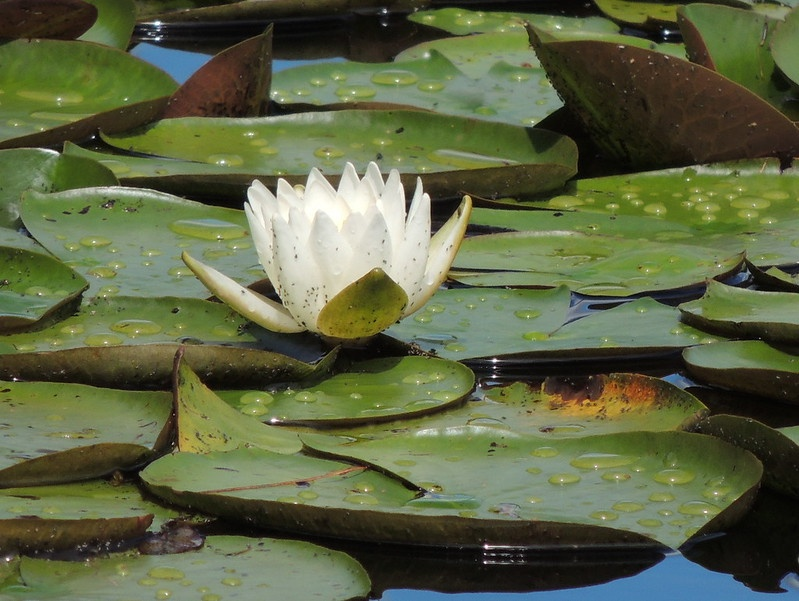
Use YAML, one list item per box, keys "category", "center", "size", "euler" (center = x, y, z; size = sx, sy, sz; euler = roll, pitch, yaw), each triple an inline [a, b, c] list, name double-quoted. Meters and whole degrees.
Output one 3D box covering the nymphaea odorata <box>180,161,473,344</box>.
- category: "nymphaea odorata"
  center: [-0.163, -0.088, 2.100]
  size: [0.514, 0.168, 0.273]
  euler: [3, 27, 17]
